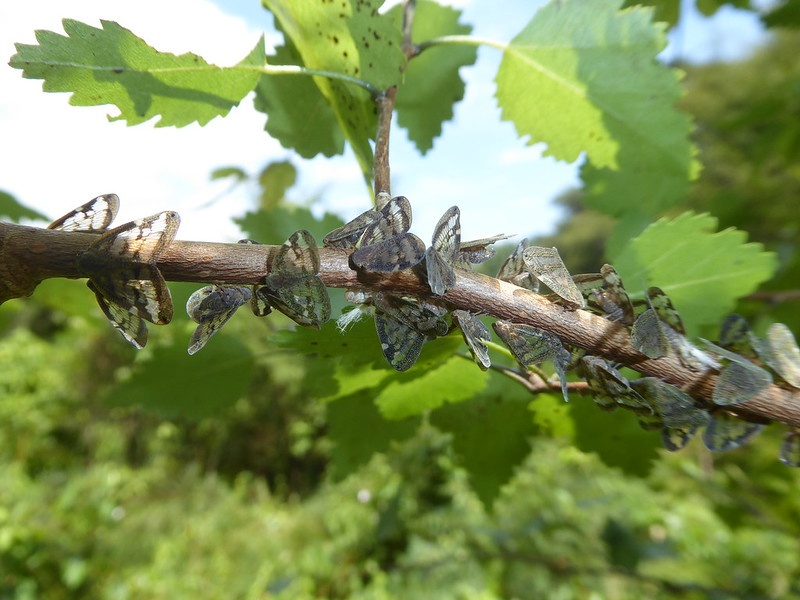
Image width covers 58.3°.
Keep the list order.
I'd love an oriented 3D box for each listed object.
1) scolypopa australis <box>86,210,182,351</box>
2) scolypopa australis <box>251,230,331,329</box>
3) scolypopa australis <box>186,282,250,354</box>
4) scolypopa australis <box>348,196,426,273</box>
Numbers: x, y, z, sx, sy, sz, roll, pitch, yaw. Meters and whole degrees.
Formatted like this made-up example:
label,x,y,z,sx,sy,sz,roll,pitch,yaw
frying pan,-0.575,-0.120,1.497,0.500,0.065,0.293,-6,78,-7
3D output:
label,x,y,z,sx,sy,sz,roll,pitch,yaw
scolypopa australis,-0.355,-0.043,0.960,0.128,0.045,0.146,3,50,-4
scolypopa australis,-0.150,-0.028,0.977,0.094,0.134,0.030,-5,26,-4
scolypopa australis,-0.260,0.021,1.049,0.114,0.111,0.059,-7,3,-9
scolypopa australis,-0.020,-0.086,0.970,0.098,0.097,0.057,-8,24,-11
